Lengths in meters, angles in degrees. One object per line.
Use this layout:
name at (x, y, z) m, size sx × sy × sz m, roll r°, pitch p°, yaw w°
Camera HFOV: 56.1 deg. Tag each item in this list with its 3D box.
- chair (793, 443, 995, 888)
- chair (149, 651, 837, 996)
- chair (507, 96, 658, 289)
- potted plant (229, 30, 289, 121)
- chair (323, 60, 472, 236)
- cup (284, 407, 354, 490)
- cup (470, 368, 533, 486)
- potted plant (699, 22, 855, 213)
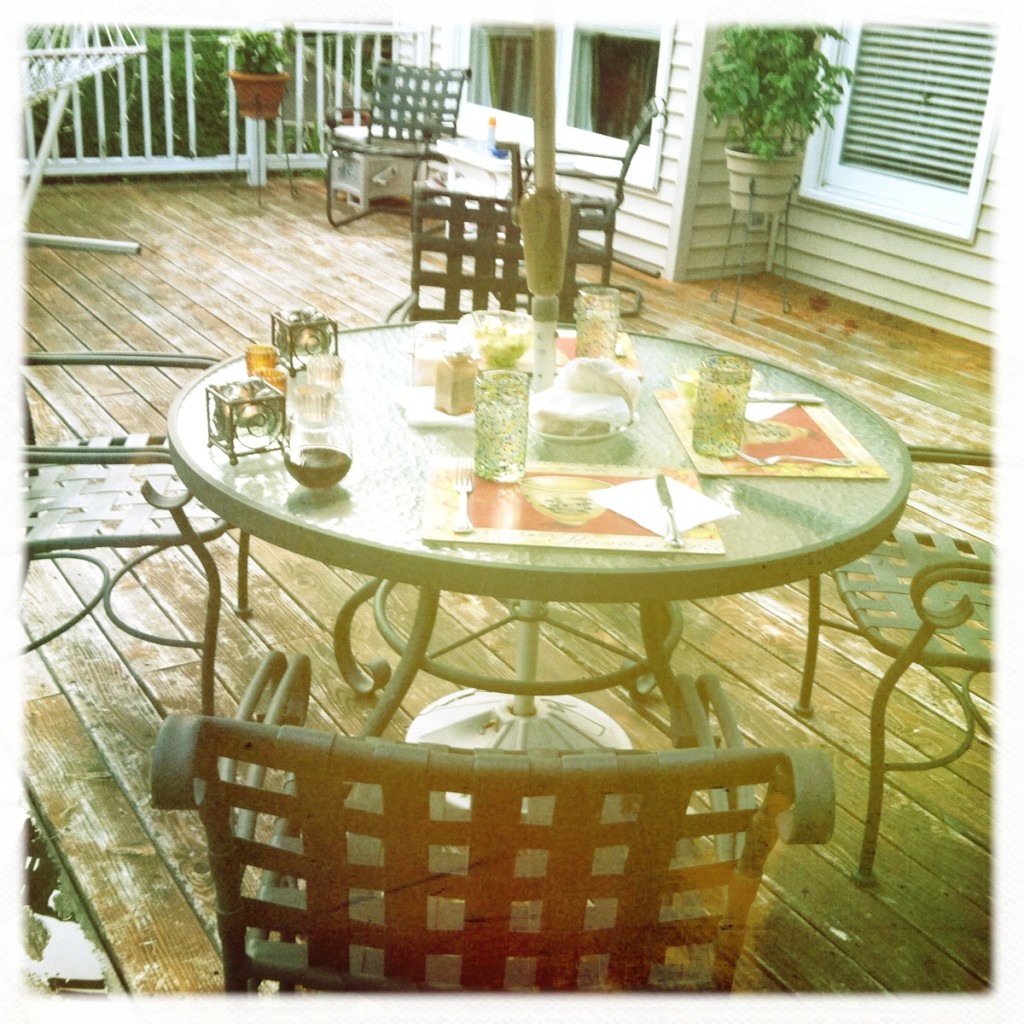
chair at (0.733, 0.330, 1.843) m, size 0.432 × 0.676 × 0.548 m, roll 5°, pitch 38°, yaw 12°
chair at (-0.025, 0.356, 1.092) m, size 0.439 × 0.609 × 0.448 m, roll 2°, pitch 51°, yaw 1°
chair at (0.371, -1.596, 4.941) m, size 0.725 × 0.888 × 0.585 m, roll 10°, pitch 15°, yaw 7°
potted plant at (-1.748, -3.046, 6.727) m, size 0.392 × 0.519 × 0.399 m, roll 0°, pitch 26°, yaw -14°
chair at (-0.805, -2.539, 6.643) m, size 0.867 × 0.986 × 0.817 m, roll -6°, pitch 21°, yaw -28°
cup at (-0.264, -0.083, 1.330) m, size 0.100 × 0.095 × 0.100 m, roll 1°, pitch 26°, yaw 0°
cup at (-0.013, -0.134, 1.416) m, size 0.079 × 0.155 × 0.131 m, roll 2°, pitch 21°, yaw 0°
potted plant at (1.398, -2.069, 5.121) m, size 0.702 × 0.938 × 0.896 m, roll 7°, pitch 22°, yaw 12°
